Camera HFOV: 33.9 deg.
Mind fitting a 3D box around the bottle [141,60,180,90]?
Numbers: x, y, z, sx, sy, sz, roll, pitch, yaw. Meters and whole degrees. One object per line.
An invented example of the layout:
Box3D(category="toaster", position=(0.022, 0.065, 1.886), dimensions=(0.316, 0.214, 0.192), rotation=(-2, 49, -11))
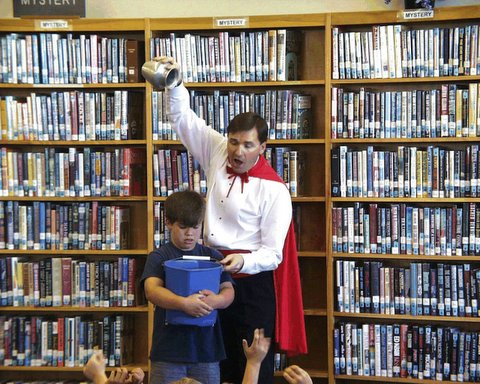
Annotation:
Box3D(category="bottle", position=(-0.428, -0.663, 4.471), dimensions=(0.224, 0.144, 0.131), rotation=(2, -3, -45))

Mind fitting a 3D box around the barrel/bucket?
Box3D(category="barrel/bucket", position=(-0.237, 0.531, 4.169), dimensions=(0.312, 0.378, 0.217), rotation=(0, -2, -4))
